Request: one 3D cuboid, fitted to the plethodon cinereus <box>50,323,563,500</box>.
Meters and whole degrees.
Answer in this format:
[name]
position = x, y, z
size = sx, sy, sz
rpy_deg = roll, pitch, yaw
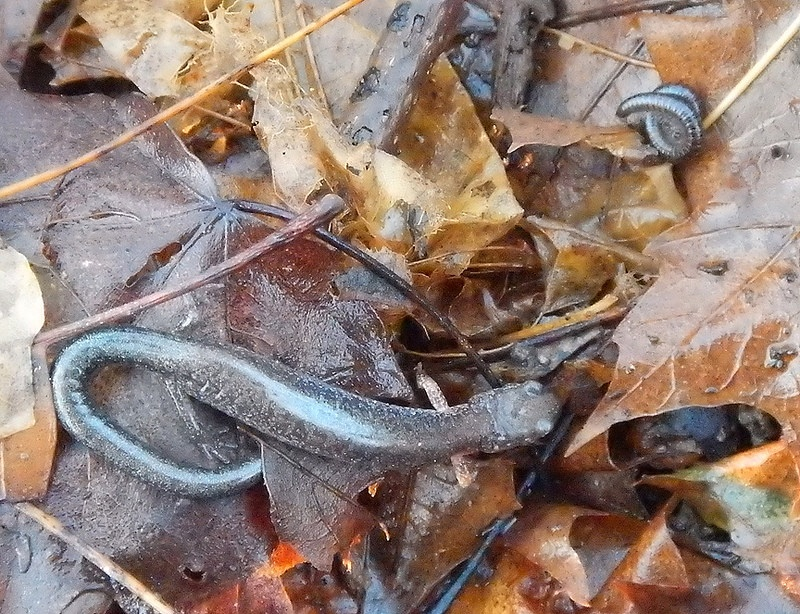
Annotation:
[plethodon cinereus]
position = -0.220, 0.273, 2.261
size = 1.109, 0.120, 0.341
rpy_deg = 7, 83, 1
